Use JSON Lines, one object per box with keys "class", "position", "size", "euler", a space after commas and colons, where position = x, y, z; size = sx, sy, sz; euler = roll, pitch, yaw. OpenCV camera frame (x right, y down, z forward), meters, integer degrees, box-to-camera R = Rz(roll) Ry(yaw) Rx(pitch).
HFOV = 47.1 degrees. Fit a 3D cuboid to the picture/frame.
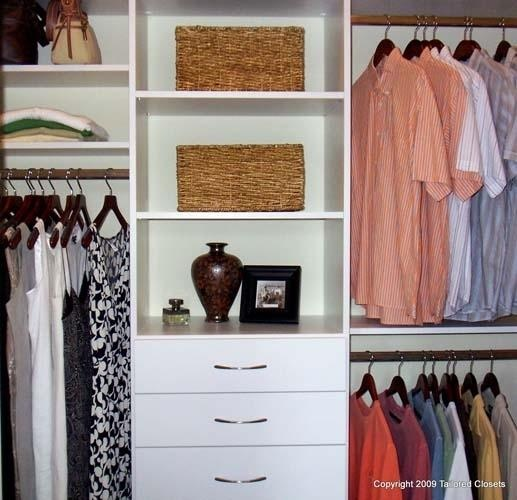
{"class": "picture/frame", "position": [0.048, 0.173, 2.243], "size": [0.161, 0.219, 0.020], "euler": [2, -13, 3]}
